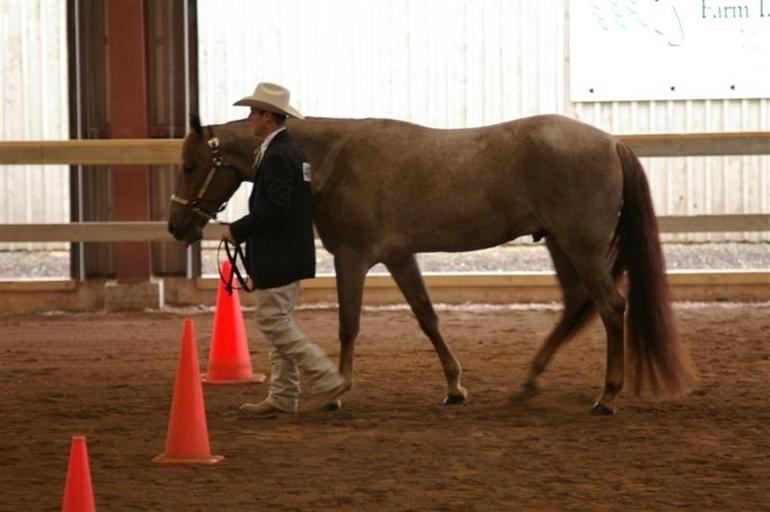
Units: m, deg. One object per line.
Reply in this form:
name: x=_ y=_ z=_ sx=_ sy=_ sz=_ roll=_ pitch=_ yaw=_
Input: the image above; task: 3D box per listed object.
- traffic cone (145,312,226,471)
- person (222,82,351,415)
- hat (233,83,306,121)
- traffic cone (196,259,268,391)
traffic cone: x=-1.765 y=1.214 z=11.888 sx=0.573 sy=1.241 sz=0.283 roll=-4 pitch=10 yaw=-10
person: x=-0.977 y=-0.038 z=12.452 sx=0.909 sy=3.044 sz=0.813 roll=-8 pitch=11 yaw=-31
hat: x=-1.064 y=-1.459 z=12.590 sx=0.598 sy=0.271 sz=0.691 roll=11 pitch=5 yaw=-27
traffic cone: x=-1.558 y=0.629 z=13.582 sx=0.883 sy=1.185 sz=0.853 roll=0 pitch=-2 yaw=-22
